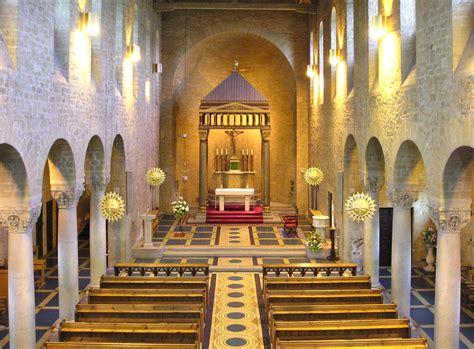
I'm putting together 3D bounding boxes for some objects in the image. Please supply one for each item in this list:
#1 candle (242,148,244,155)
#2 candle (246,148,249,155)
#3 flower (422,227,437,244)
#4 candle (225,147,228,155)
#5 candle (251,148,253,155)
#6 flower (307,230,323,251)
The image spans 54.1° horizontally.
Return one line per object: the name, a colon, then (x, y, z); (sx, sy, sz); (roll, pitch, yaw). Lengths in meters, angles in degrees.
candle: (0.350, -1.513, 31.033); (0.149, 0.409, 0.220); (1, 1, -9)
candle: (0.653, -1.513, 31.012); (0.153, 0.411, 0.264); (1, 1, -4)
flower: (8.133, 2.638, 19.656); (0.481, 0.763, 0.652); (2, 1, 17)
candle: (-0.765, -1.563, 30.998); (0.125, 0.431, 0.273); (2, 1, 18)
candle: (0.977, -1.517, 31.063); (0.141, 0.414, 0.388); (2, 1, 11)
flower: (3.501, 2.998, 21.069); (0.683, 0.928, 0.820); (2, 1, 22)
